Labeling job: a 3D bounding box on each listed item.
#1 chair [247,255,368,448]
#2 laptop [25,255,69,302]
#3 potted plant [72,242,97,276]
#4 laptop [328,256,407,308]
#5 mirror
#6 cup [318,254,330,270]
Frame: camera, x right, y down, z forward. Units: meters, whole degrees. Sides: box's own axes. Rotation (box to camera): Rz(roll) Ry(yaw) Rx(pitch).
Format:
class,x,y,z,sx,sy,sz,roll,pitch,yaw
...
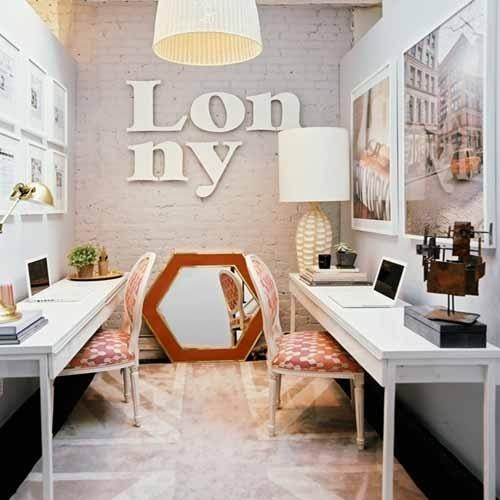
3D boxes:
class,x,y,z,sx,sy,sz,roll,pitch,yaw
chair,0.252,0.466,2.584,0.799,1.186,0.766,-1,1,5
laptop,-1.144,0.150,2.567,0.191,0.267,0.388,0,1,-6
potted plant,-1.083,0.063,3.054,0.195,0.213,0.194,0,-2,-6
laptop,0.596,0.197,2.273,0.231,0.159,0.317,0,0,-4
mirror,-0.357,0.438,3.737,0.878,0.792,0.792,0,0,-1
cup,0.469,0.074,2.902,0.080,0.118,0.083,0,-6,0
